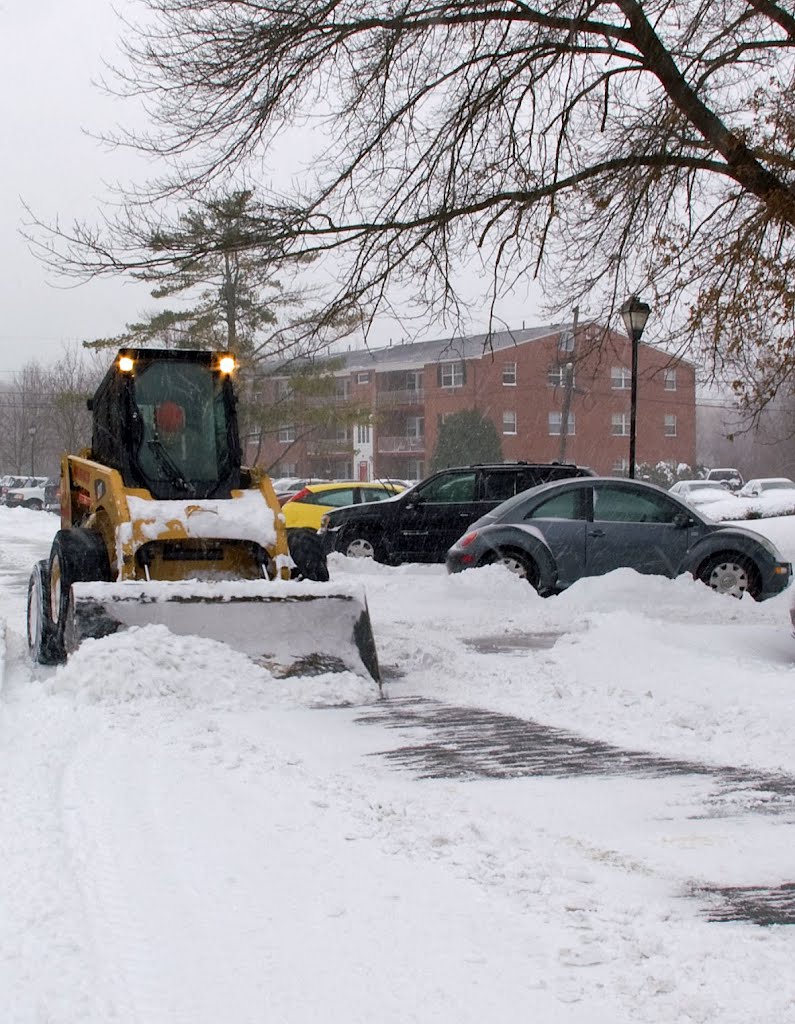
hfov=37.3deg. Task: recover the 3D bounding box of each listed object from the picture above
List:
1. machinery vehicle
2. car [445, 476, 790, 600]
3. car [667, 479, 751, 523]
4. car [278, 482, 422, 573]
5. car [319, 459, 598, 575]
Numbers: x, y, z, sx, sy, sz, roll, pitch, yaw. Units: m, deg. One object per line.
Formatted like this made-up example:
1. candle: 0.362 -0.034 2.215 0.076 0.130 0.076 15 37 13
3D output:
1. machinery vehicle: -1.672 0.069 8.920 1.492 2.147 3.391 1 -5 -20
2. car: 2.429 0.269 12.275 2.545 1.209 1.540 -3 0 1
3. car: 7.755 -0.345 29.085 1.227 1.204 3.148 0 -1 -6
4. car: -0.940 0.120 18.562 1.793 0.919 0.912 -10 7 -23
5. car: 0.642 -0.001 16.520 3.228 1.660 1.564 0 -2 2
